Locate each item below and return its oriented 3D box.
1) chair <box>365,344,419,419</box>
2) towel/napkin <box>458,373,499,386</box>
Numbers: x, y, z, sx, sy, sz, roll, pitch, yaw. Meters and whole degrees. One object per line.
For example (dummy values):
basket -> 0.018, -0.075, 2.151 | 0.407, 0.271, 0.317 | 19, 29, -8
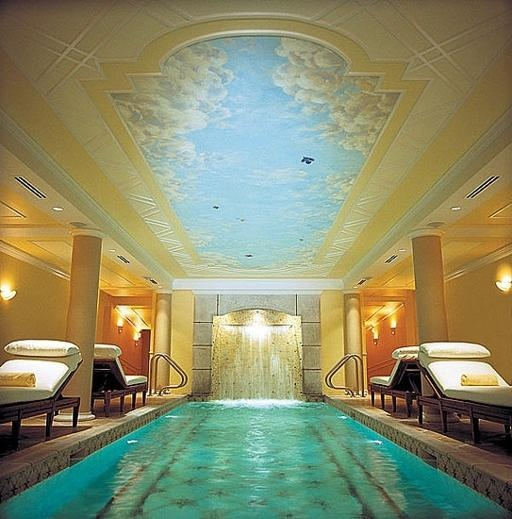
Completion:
chair -> 2.947, 2.520, 7.227 | 0.841, 1.370, 2.480 | -4, -14, 10
towel/napkin -> 2.982, 1.592, 4.613 | 0.330, 0.141, 0.540 | -12, -18, 39
